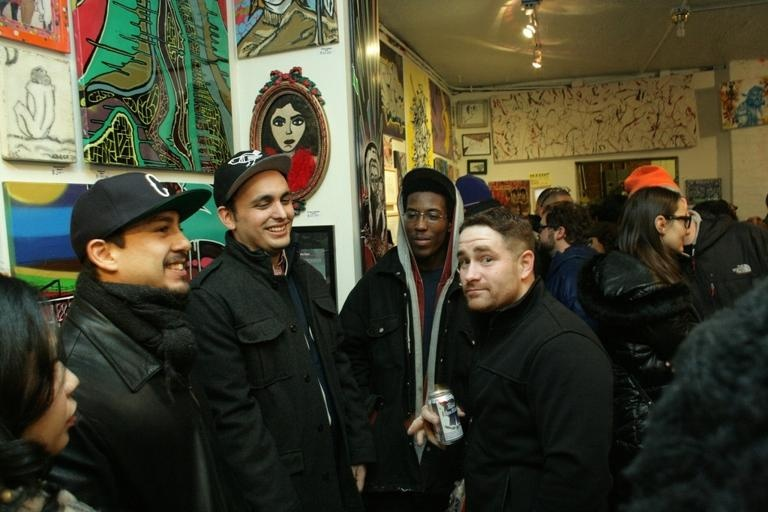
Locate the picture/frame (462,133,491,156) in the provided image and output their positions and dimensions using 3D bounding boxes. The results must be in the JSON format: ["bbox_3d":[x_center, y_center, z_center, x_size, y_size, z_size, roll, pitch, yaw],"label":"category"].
[{"bbox_3d":[1.417,-1.724,9.226,0.361,0.261,0.025,0,13,9],"label":"picture/frame"}]

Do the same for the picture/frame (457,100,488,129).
[{"bbox_3d":[1.316,-2.148,9.040,0.394,0.327,0.038,-1,10,4],"label":"picture/frame"}]

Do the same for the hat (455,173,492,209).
[{"bbox_3d":[0.683,-0.507,4.567,0.221,0.162,0.309,-3,5,15],"label":"hat"}]

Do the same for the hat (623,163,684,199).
[{"bbox_3d":[1.746,-0.519,4.069,0.550,0.212,0.374,-1,-1,-35],"label":"hat"}]

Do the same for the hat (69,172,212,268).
[{"bbox_3d":[-1.001,-0.222,2.594,0.563,0.265,0.335,-27,3,-6],"label":"hat"}]
